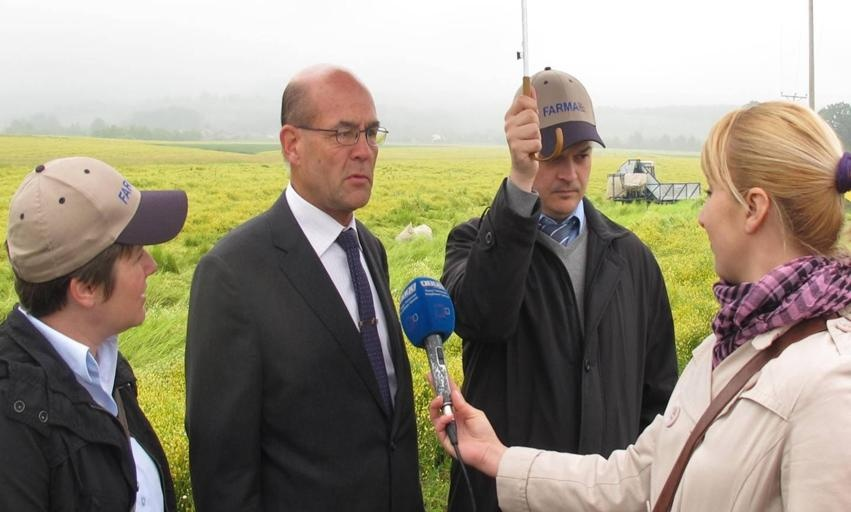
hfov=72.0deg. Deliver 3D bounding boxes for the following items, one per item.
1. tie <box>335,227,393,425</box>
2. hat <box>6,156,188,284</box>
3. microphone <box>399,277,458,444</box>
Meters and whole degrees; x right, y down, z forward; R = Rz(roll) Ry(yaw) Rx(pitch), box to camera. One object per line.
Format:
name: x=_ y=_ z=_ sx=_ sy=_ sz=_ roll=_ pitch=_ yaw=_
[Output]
tie: x=-0.350 y=0.287 z=3.155 sx=0.186 sy=1.325 sz=0.146 roll=-2 pitch=-19 yaw=-28
hat: x=-1.551 y=-0.185 z=2.830 sx=0.771 sy=0.437 sz=0.527 roll=-18 pitch=35 yaw=-12
microphone: x=0.041 y=0.481 z=2.996 sx=0.218 sy=0.887 sz=0.240 roll=-8 pitch=-17 yaw=-6
